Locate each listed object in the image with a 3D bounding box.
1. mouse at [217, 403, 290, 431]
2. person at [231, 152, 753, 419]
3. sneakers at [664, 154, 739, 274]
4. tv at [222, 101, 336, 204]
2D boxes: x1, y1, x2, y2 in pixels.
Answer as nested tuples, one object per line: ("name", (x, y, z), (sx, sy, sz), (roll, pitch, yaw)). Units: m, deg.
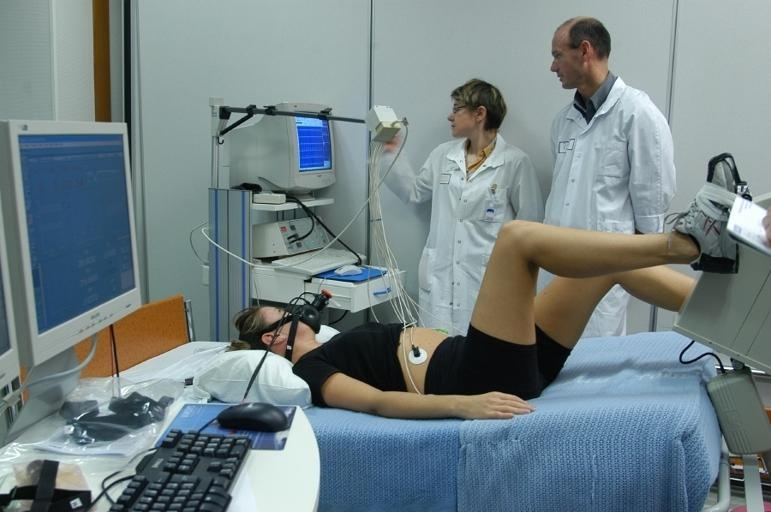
("mouse", (-0.372, 0.442, 1.591), (0.144, 0.051, 0.090), (5, 1, 6))
("person", (0.272, 0.189, 2.290), (1.796, 0.802, 0.775), (-8, 2, 15))
("sneakers", (0.982, -0.118, 1.735), (0.175, 0.353, 0.245), (12, 20, 38))
("tv", (-0.641, -0.643, 3.710), (0.597, 0.574, 0.561), (4, 7, 21))
